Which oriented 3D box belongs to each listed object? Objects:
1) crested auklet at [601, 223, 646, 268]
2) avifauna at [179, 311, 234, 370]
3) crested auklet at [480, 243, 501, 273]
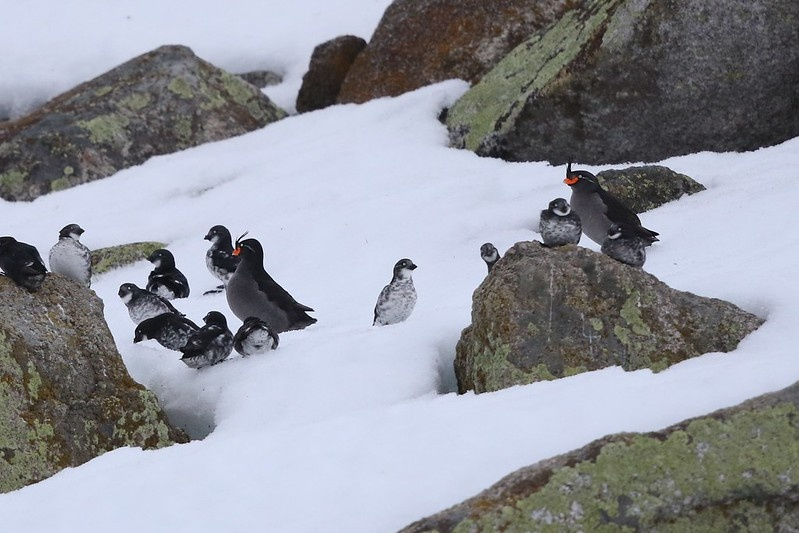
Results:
[{"bbox_3d":[3.542,-0.335,20.580,0.558,0.775,0.545,16,92,31],"label":"crested auklet"},{"bbox_3d":[-3.020,1.205,20.522,0.562,0.681,0.963,2,15,30],"label":"avifauna"},{"bbox_3d":[1.519,-0.185,21.772,0.249,0.546,0.548,-10,41,14],"label":"crested auklet"}]
